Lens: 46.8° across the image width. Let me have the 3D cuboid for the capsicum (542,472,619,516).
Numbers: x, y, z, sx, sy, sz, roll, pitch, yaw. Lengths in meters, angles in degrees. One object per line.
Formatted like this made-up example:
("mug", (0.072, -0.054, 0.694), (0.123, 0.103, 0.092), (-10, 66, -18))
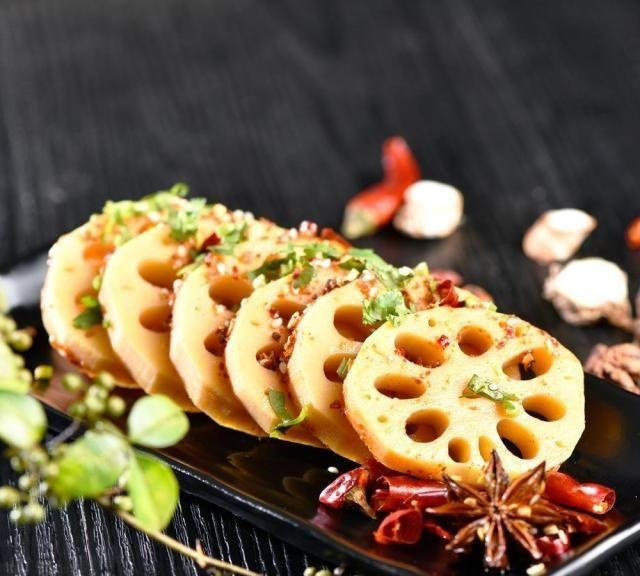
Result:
("capsicum", (0.785, 0.627, 2.295), (0.230, 0.065, 0.121), (12, 23, 33))
